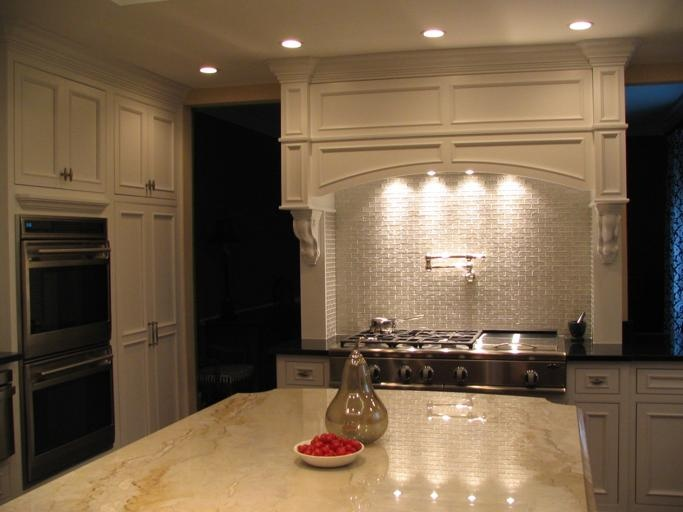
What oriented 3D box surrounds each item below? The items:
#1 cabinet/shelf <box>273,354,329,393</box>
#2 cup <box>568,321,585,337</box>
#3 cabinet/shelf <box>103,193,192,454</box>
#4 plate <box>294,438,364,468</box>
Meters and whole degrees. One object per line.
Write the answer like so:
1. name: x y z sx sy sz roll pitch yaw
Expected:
1. cabinet/shelf: -0.299 0.883 4.306 0.281 0.186 0.299 0 -4 4
2. cup: 1.800 0.551 4.299 0.113 0.091 0.117 0 -2 0
3. cabinet/shelf: -1.809 0.608 4.784 0.598 2.217 0.936 2 5 16
4. plate: -0.051 0.771 2.221 0.280 0.083 0.194 -1 5 4
